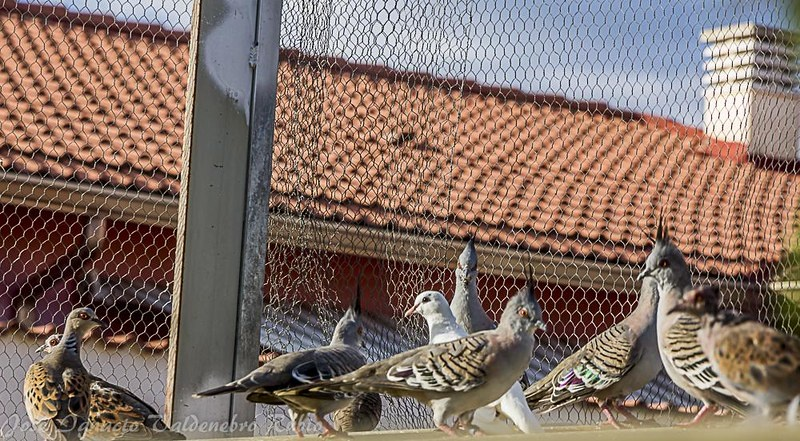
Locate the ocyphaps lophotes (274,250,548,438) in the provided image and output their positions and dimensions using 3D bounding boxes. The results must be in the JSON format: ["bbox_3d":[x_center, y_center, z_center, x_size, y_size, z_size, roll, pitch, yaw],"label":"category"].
[{"bbox_3d":[0.058,0.870,11.006,2.017,1.385,0.727,2,-3,6],"label":"ocyphaps lophotes"}]
